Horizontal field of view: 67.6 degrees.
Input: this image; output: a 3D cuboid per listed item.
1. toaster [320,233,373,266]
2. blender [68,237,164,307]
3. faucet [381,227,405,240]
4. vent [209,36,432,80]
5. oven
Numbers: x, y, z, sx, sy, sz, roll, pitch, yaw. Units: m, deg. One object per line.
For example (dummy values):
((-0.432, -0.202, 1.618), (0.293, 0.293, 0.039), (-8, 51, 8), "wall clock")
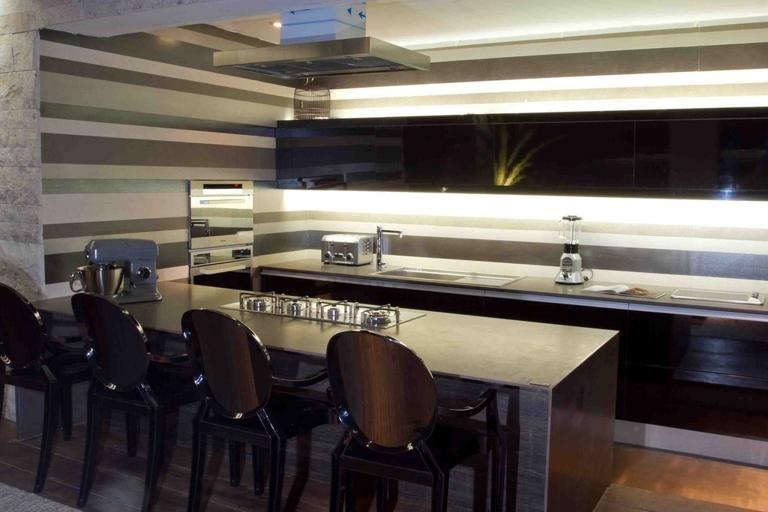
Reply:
((-0.385, -0.063, 6.002), (0.462, 0.296, 0.375), (4, 7, 24), "toaster")
((-2.007, 0.101, 4.240), (0.374, 0.439, 0.632), (3, 4, 35), "blender")
((0.074, -0.232, 5.861), (0.238, 0.122, 0.307), (-1, 6, 0), "faucet")
((-0.436, -1.258, 3.618), (0.810, 0.105, 0.563), (0, -2, 21), "vent")
((-1.695, -0.223, 5.553), (0.557, 1.000, 0.733), (9, 13, 41), "oven")
